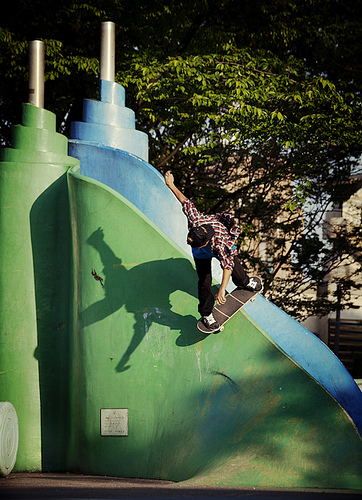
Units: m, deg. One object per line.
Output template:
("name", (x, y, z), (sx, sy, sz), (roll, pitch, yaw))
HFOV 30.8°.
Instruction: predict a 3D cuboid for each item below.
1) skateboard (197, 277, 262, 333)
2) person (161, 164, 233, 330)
("skateboard", (0.592, 0.649, 7.689), (1.177, 0.188, 0.282), (-38, 69, -25))
("person", (0.215, 0.205, 7.585), (0.764, 1.553, 1.372), (-9, 56, -14))
